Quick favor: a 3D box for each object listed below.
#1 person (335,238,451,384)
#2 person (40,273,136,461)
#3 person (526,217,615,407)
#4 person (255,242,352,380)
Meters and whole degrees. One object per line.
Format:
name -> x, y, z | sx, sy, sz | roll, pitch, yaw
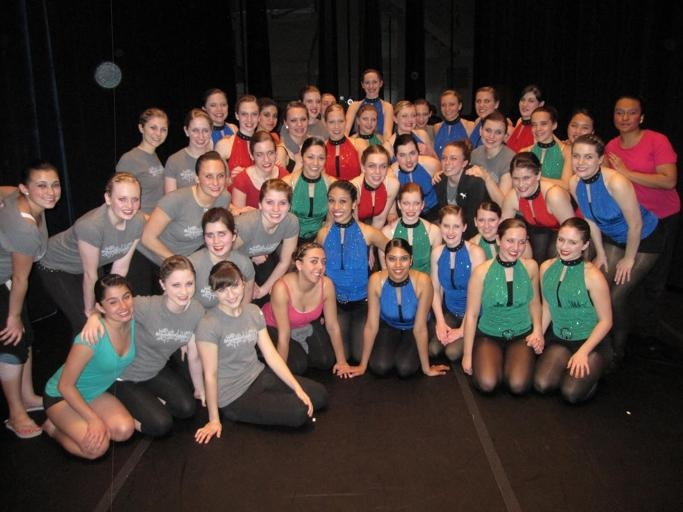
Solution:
person -> 0.422, 0.359, 4.253 | 0.696, 1.017, 0.464 | 0, 20, 4
person -> -1.534, 0.662, 3.436 | 0.630, 1.052, 0.445 | -14, 24, -31
person -> 1.617, 0.356, 3.893 | 0.527, 1.152, 0.591 | 7, 22, 20
person -> -0.285, 0.421, 4.270 | 0.498, 0.793, 0.679 | -16, 56, -25
